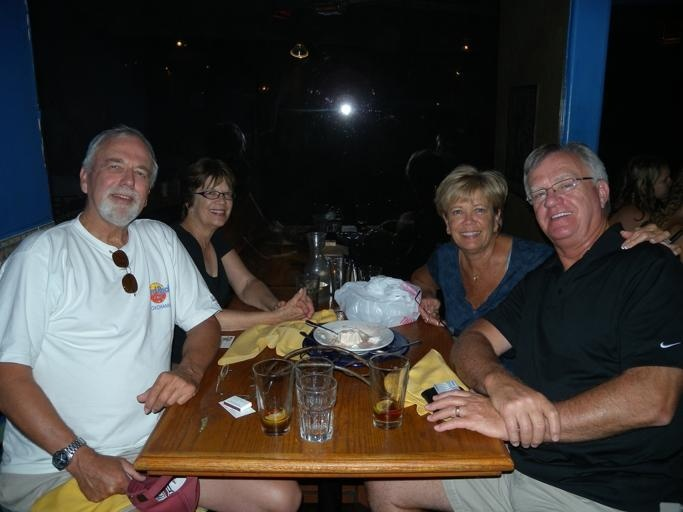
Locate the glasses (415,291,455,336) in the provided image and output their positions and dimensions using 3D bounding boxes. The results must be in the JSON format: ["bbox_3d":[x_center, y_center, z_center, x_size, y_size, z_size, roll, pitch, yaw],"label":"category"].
[{"bbox_3d":[0.534,0.327,2.930,0.123,0.137,0.239,-39,38,8],"label":"glasses"}]

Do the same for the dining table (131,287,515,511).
[{"bbox_3d":[-0.102,0.474,2.040,0.693,0.658,0.683,0,25,0],"label":"dining table"}]

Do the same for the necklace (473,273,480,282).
[{"bbox_3d":[0.812,0.127,3.092,0.010,0.035,0.036,7,-9,-43],"label":"necklace"}]

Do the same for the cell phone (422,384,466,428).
[{"bbox_3d":[0.415,0.587,2.070,0.131,0.033,0.136,-9,16,5],"label":"cell phone"}]
